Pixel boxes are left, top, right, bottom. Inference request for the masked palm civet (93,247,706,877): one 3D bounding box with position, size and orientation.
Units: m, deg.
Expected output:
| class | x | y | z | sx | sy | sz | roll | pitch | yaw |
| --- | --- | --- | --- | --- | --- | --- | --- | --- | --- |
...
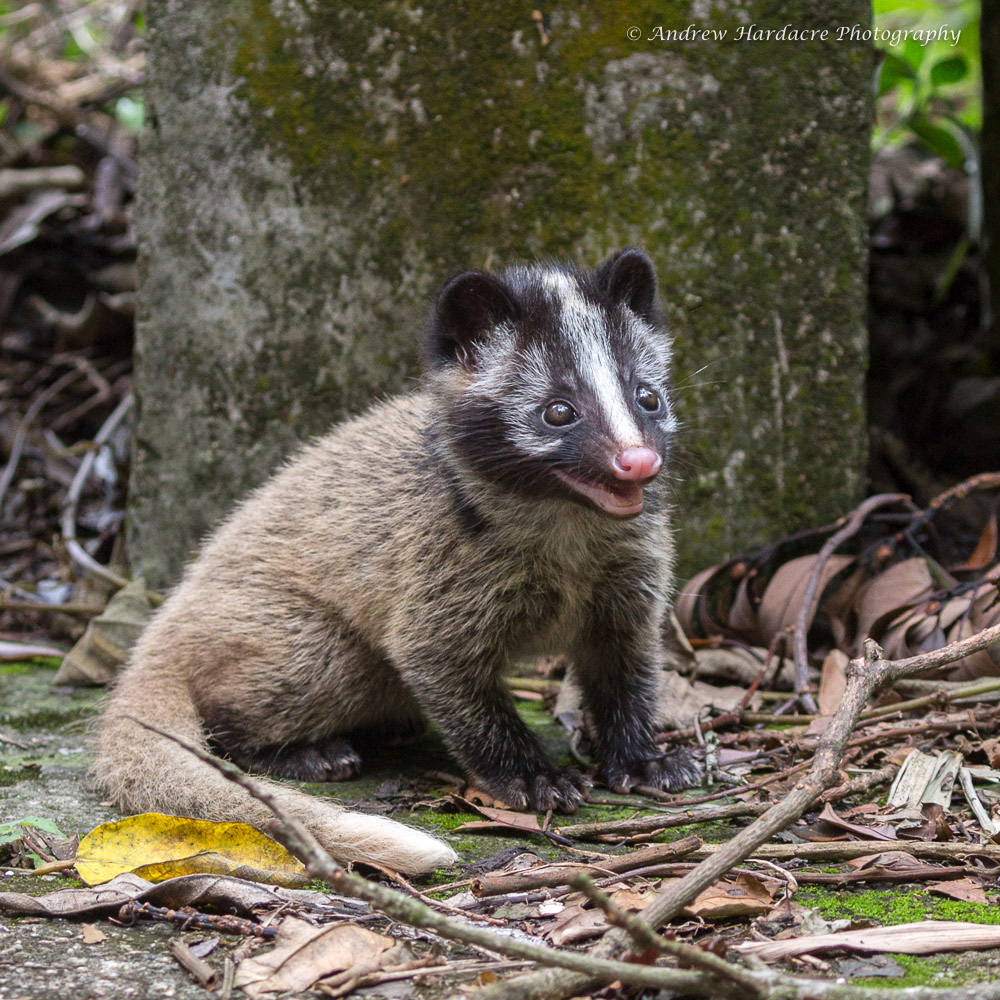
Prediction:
| class | x | y | z | sx | sy | sz | roll | pitch | yaw |
| --- | --- | --- | --- | --- | --- | --- | --- | --- | --- |
| masked palm civet | -0.316 | 0.069 | 5.085 | 1.725 | 1.768 | 1.008 | 1 | 14 | 5 |
